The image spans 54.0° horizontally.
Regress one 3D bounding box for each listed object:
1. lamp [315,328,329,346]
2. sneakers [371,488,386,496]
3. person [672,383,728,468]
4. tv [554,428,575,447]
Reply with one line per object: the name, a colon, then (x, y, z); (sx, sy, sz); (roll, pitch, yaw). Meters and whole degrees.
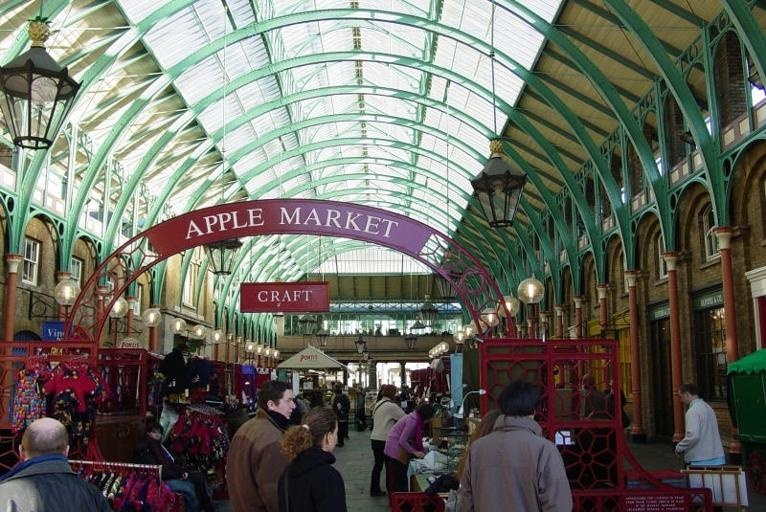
lamp: (-3.103, 4.105, 38.173); (0.442, 1.054, 1.239); (2, -17, -8)
sneakers: (-0.092, 5.851, 18.608); (0.404, 0.190, 0.141); (0, -5, -16)
person: (6.501, 3.488, 15.588); (0.836, 1.714, 0.656); (-7, -18, 24)
tv: (3.418, 3.488, 14.404); (0.320, 0.356, 0.088); (-1, 4, 1)
